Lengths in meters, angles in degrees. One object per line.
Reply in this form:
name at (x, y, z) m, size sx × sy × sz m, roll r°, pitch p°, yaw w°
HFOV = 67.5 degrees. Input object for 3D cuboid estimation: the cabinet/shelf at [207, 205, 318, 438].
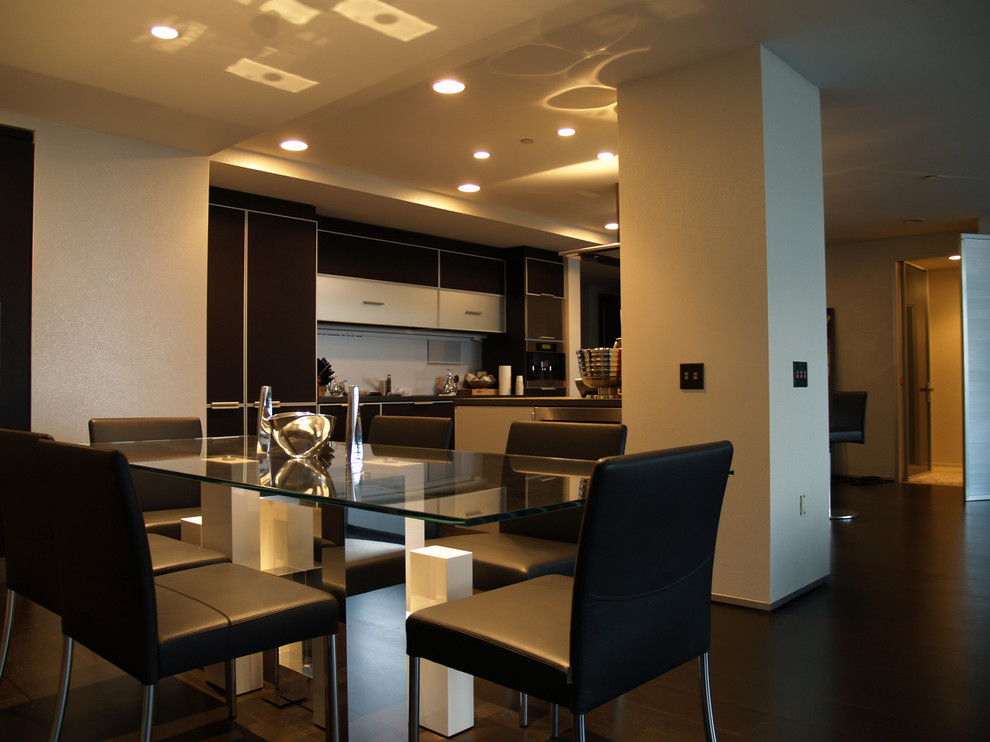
cabinet/shelf at (-1.973, -0.469, 6.266) m, size 0.884 × 1.623 × 0.532 m, roll -5°, pitch 10°, yaw -36°

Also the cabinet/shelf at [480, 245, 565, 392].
cabinet/shelf at (0.361, -0.428, 8.364) m, size 0.759 × 1.681 × 0.618 m, roll -2°, pitch 2°, yaw -32°

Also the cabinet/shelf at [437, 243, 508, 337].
cabinet/shelf at (-0.274, -0.873, 7.762) m, size 0.319 × 0.813 × 0.927 m, roll -4°, pitch -5°, yaw 43°

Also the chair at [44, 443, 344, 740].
chair at (-1.065, 0.441, 2.589) m, size 0.899 × 1.280 × 0.878 m, roll -2°, pitch 3°, yaw -38°

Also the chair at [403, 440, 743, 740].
chair at (0.326, 0.543, 2.351) m, size 0.849 × 1.170 × 0.870 m, roll 1°, pitch -1°, yaw 37°
